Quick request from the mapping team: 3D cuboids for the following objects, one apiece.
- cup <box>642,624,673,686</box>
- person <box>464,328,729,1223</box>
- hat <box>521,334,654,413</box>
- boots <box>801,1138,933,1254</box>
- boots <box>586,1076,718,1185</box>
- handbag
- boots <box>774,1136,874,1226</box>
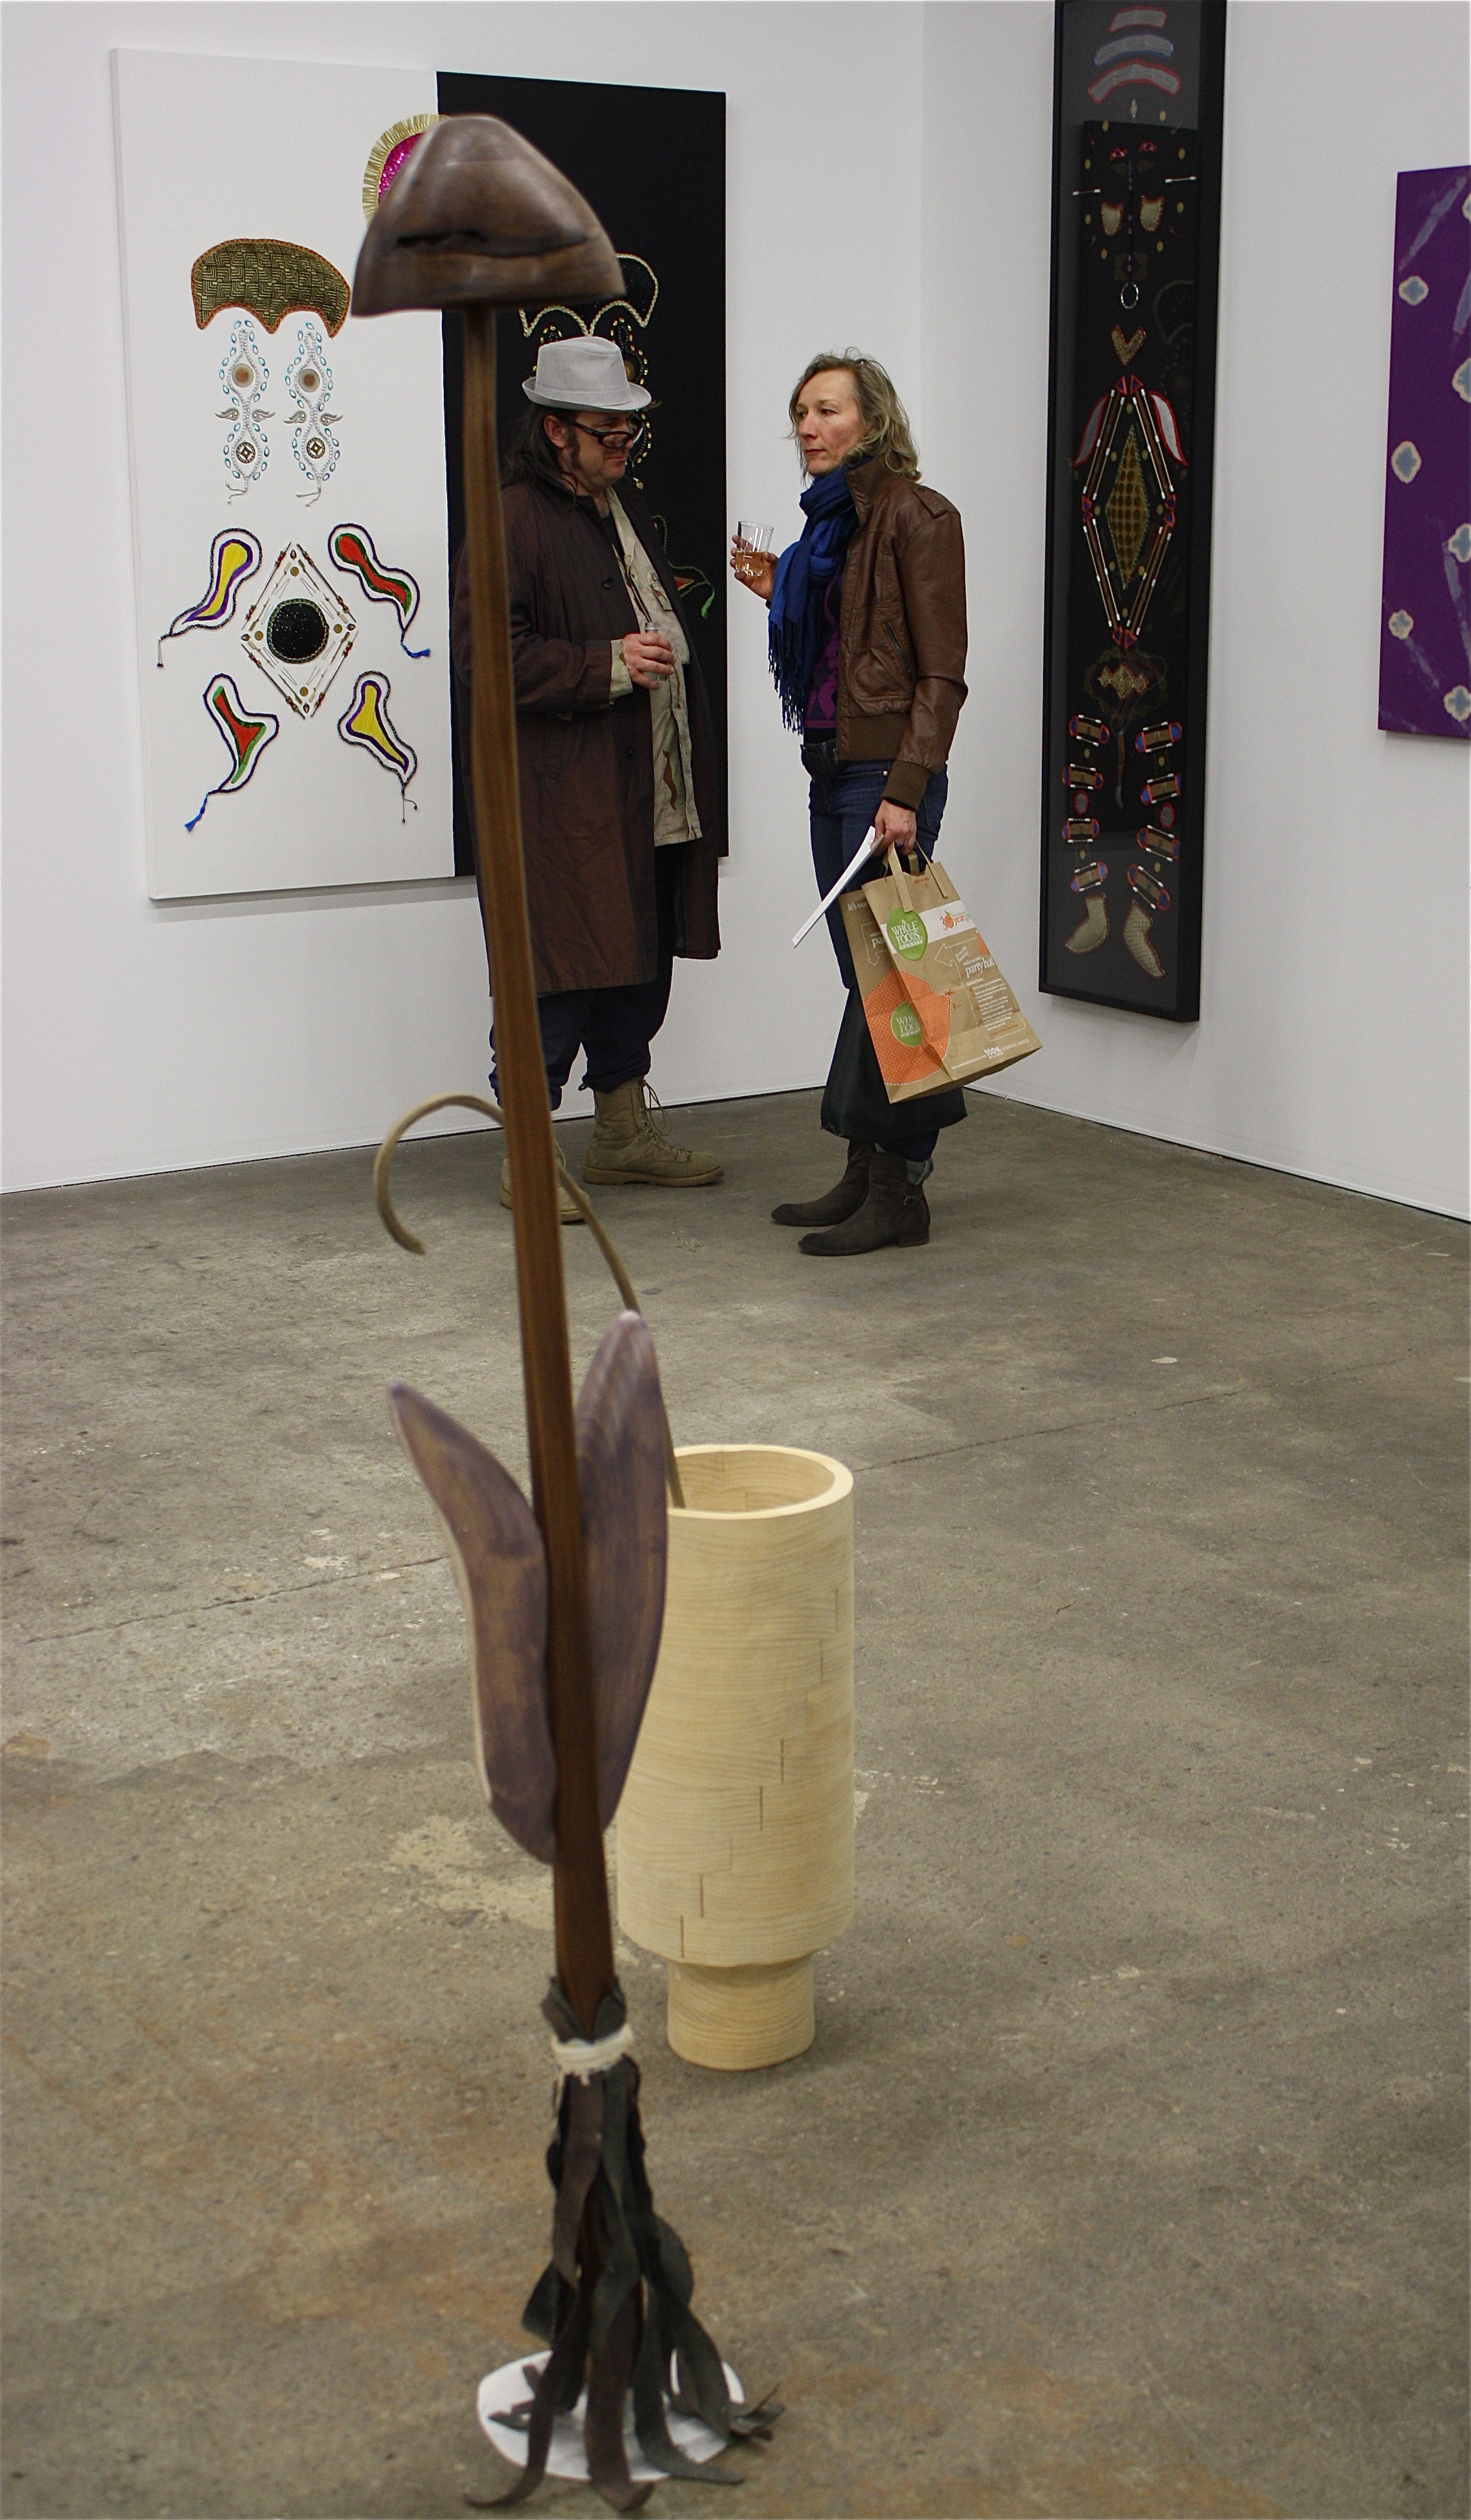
[{"bbox_3d":[-0.158,-1.363,4.852,0.040,0.083,0.110,7,-26,18],"label":"cup"},{"bbox_3d":[-0.295,-1.092,5.051,0.437,1.953,0.646,0,10,9],"label":"person"},{"bbox_3d":[-0.327,-1.943,4.697,0.248,0.131,0.133,-4,11,-13],"label":"hat"},{"bbox_3d":[0.256,-0.138,4.933,0.373,0.276,0.149,-4,17,-9],"label":"boots"},{"bbox_3d":[-0.248,-0.340,5.556,0.415,0.349,0.178,-2,20,-4],"label":"boots"},{"bbox_3d":[0.434,-0.593,4.617,0.404,0.521,0.186,-1,10,3],"label":"handbag"},{"bbox_3d":[0.176,-0.181,5.125,0.297,0.220,0.116,11,17,30],"label":"boots"}]
